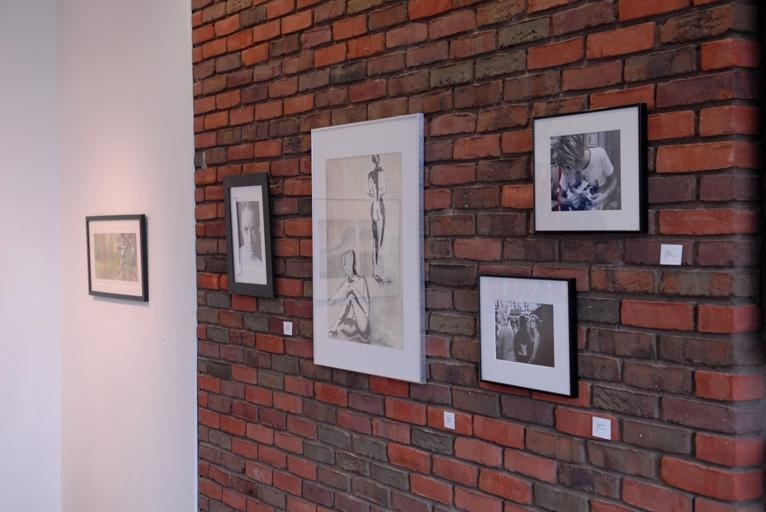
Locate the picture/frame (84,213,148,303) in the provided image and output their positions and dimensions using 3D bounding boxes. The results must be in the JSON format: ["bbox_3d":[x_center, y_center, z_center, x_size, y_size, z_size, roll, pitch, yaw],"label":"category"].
[{"bbox_3d":[-1.713,0.001,3.573,0.676,0.592,0.040,-1,1,35],"label":"picture/frame"}]

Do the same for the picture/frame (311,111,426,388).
[{"bbox_3d":[-0.073,-0.034,2.442,0.597,0.967,0.038,-1,1,34],"label":"picture/frame"}]

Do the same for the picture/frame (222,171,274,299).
[{"bbox_3d":[-0.684,-0.110,2.837,0.331,0.595,0.046,-1,1,38],"label":"picture/frame"}]

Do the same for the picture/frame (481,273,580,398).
[{"bbox_3d":[0.554,0.283,2.038,0.444,0.529,0.053,-1,-3,38],"label":"picture/frame"}]
